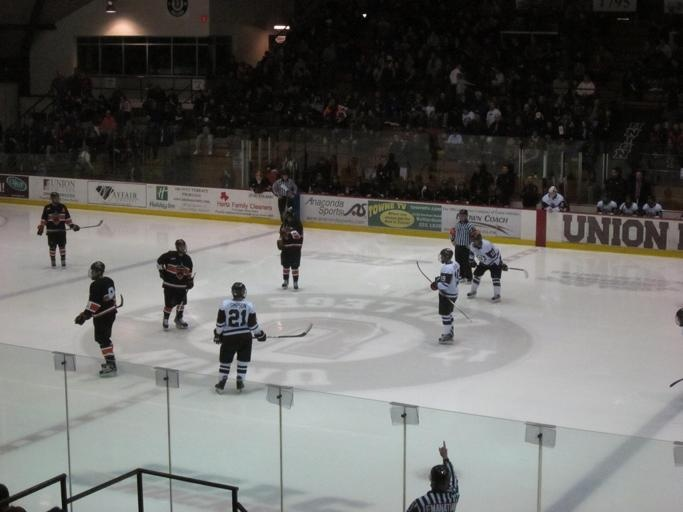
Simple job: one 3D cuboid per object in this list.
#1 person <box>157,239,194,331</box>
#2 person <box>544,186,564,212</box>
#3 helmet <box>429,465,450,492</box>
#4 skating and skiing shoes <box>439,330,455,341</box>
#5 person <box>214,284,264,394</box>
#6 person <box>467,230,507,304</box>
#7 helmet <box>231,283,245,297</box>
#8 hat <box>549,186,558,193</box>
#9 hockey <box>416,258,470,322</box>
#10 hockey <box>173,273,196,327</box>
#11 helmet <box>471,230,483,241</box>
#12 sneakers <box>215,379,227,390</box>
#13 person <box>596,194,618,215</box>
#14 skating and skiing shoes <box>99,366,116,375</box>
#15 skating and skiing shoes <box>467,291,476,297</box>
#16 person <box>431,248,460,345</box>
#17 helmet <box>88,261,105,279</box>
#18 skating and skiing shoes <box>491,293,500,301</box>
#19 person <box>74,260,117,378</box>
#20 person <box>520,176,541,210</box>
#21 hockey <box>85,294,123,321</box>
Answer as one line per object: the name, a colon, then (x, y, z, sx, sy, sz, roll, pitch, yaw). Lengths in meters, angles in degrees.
person: (-3.289, 0.645, 15.584, 0.618, 1.743, 0.447, -4, 14, -14)
person: (6.127, -1.763, 22.595, 0.615, 1.008, 0.653, 2, 48, 17)
helmet: (1.020, 2.339, 8.197, 0.187, 0.256, 0.247, 1, 17, 3)
skating and skiing shoes: (2.036, 1.541, 15.167, 0.247, 0.169, 0.154, 2, 8, 4)
person: (-1.642, 1.309, 12.552, 0.728, 1.643, 0.634, -3, 14, -13)
person: (3.289, 0.189, 17.683, 0.921, 1.608, 0.837, 3, 14, 31)
helmet: (-1.684, 0.580, 12.634, 0.212, 0.261, 0.272, 2, 15, 1)
hat: (6.047, -1.926, 22.394, 0.178, 0.173, 0.223, 0, -3, -4)
hockey: (2.212, 0.779, 16.907, 1.750, 0.036, 0.247, 43, 31, 12)
hockey: (-3.235, 0.916, 16.061, 0.363, 1.239, 0.220, 14, 42, -5)
helmet: (2.965, -0.443, 17.186, 0.222, 0.200, 0.284, 2, 14, 8)
sneakers: (-1.465, 1.558, 9.523, 0.067, 0.138, 0.138, 6, 17, -18)
person: (7.587, -1.461, 22.509, 0.620, 0.945, 0.511, 1, 5, 20)
skating and skiing shoes: (-2.958, 1.452, 9.926, 0.244, 0.102, 0.086, 3, 11, 24)
skating and skiing shoes: (2.991, 0.883, 18.134, 0.229, 0.094, 0.079, 4, 16, -20)
person: (2.021, 0.715, 15.245, 0.460, 1.877, 1.231, 3, 14, 10)
helmet: (-4.543, 0.259, 14.521, 0.308, 0.401, 0.369, 4, 14, -25)
skating and skiing shoes: (3.504, 0.929, 17.804, 0.257, 0.167, 0.082, -4, 9, -34)
person: (-4.149, 1.054, 13.356, 0.617, 1.895, 1.231, -5, 15, -18)
person: (5.643, -1.918, 23.273, 0.566, 0.920, 0.273, 4, 14, 14)
hockey: (-4.162, 0.906, 13.738, 0.602, 0.169, 0.467, -22, 23, 4)
